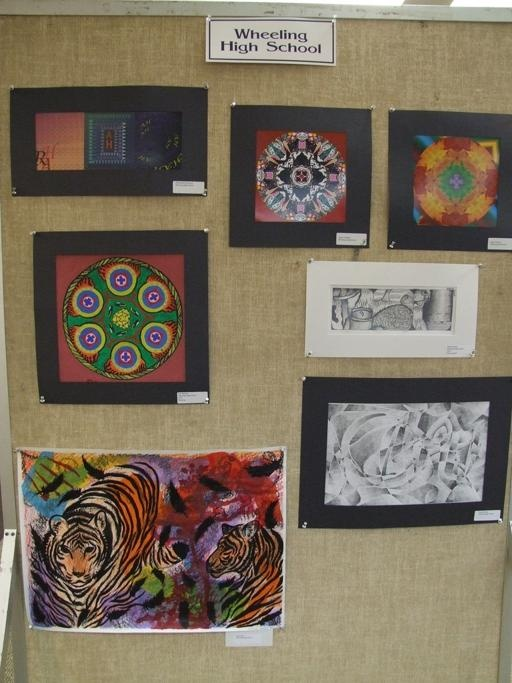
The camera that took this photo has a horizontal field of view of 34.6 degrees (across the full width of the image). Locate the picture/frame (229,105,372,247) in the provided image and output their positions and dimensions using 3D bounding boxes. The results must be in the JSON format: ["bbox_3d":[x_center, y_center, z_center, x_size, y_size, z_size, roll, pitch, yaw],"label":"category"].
[{"bbox_3d":[0.091,-0.405,1.935,0.377,0.327,0.017,1,4,-7],"label":"picture/frame"}]
